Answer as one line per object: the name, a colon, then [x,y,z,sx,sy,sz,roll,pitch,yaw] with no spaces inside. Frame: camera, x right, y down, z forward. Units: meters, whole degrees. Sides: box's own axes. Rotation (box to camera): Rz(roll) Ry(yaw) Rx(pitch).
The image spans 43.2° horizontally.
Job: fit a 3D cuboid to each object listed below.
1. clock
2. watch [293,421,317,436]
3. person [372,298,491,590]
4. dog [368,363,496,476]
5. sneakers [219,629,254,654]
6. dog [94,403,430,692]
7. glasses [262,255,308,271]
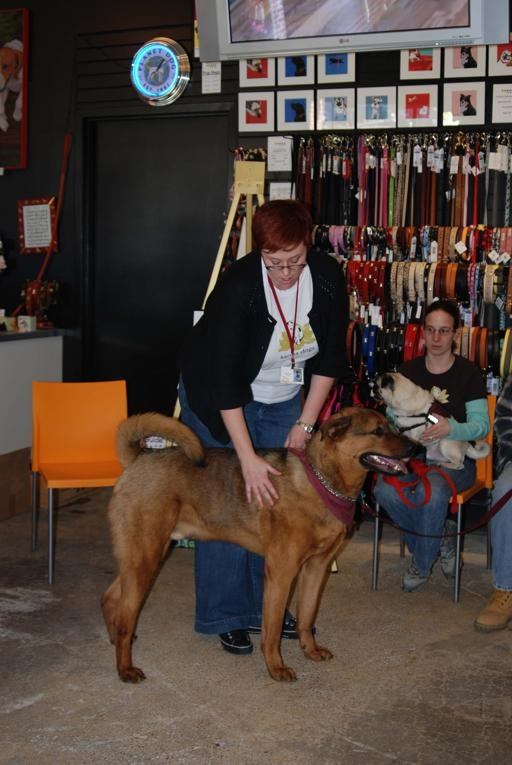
clock: [-0.700,-2.191,4.545,0.432,0.432,0.063,6,10,15]
watch: [0.155,0.148,2.060,0.055,0.060,0.039,-28,30,37]
person: [0.771,0.283,2.906,0.483,1.254,0.477,4,15,37]
dog: [0.755,0.145,2.757,0.392,0.449,0.357,-14,14,20]
sneakers: [-0.064,0.890,2.211,0.048,0.053,0.132,4,-16,-27]
dog: [-0.021,0.500,2.047,0.999,0.829,0.358,-2,0,13]
glasses: [0.075,-0.320,1.781,0.106,0.022,0.071,1,0,2]
